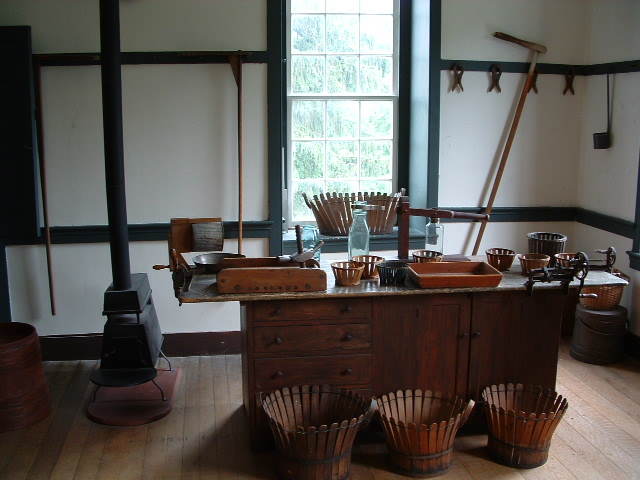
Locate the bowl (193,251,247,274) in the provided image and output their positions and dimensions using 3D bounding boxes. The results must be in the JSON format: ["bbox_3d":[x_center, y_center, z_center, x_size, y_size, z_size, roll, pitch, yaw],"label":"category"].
[{"bbox_3d":[-0.668,0.147,3.456,0.401,0.129,0.275,8,13,36],"label":"bowl"}]

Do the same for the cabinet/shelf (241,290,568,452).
[{"bbox_3d":[0.576,0.581,3.502,1.986,1.087,0.751,-1,33,3],"label":"cabinet/shelf"}]

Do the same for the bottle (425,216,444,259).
[{"bbox_3d":[0.861,-0.039,3.835,0.118,0.275,0.383,2,11,11],"label":"bottle"}]

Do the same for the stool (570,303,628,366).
[{"bbox_3d":[2.328,0.773,4.325,0.428,0.462,0.443,0,-1,3],"label":"stool"}]

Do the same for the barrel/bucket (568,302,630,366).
[{"bbox_3d":[2.414,0.783,4.406,0.433,0.463,0.437,1,-2,0],"label":"barrel/bucket"}]

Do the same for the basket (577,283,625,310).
[{"bbox_3d":[2.178,0.437,3.960,0.271,0.211,0.293,0,-1,1],"label":"basket"}]
